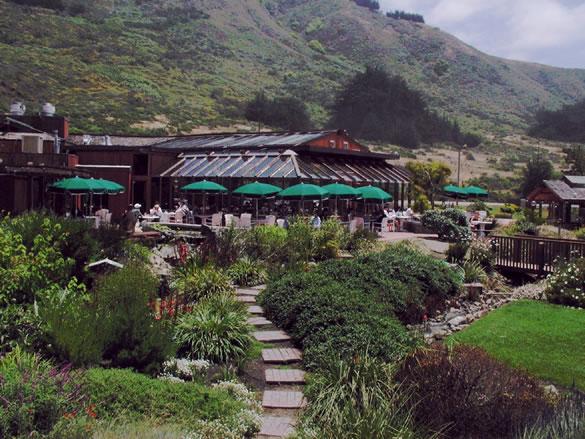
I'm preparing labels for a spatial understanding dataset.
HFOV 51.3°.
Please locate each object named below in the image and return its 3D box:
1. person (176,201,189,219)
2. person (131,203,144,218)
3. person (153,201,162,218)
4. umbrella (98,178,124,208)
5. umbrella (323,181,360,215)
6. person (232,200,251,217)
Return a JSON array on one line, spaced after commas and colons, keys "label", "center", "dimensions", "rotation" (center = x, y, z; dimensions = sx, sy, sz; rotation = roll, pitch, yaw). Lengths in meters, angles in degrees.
[{"label": "person", "center": [-5.630, -0.514, 31.446], "dimensions": [0.440, 0.902, 0.770], "rotation": [8, -7, -44]}, {"label": "person", "center": [-7.426, -0.455, 29.231], "dimensions": [0.461, 0.909, 0.297], "rotation": [9, 18, 24]}, {"label": "person", "center": [-6.960, -0.528, 31.409], "dimensions": [0.457, 0.792, 1.076], "rotation": [5, 0, -9]}, {"label": "umbrella", "center": [-7.919, -1.106, 26.511], "dimensions": [1.195, 1.086, 1.377], "rotation": [-3, 3, 12]}, {"label": "umbrella", "center": [2.502, -1.162, 31.571], "dimensions": [1.476, 1.182, 1.653], "rotation": [1, 2, -6]}, {"label": "person", "center": [-2.710, -0.721, 33.309], "dimensions": [0.783, 0.985, 0.956], "rotation": [-1, 5, 0]}]
